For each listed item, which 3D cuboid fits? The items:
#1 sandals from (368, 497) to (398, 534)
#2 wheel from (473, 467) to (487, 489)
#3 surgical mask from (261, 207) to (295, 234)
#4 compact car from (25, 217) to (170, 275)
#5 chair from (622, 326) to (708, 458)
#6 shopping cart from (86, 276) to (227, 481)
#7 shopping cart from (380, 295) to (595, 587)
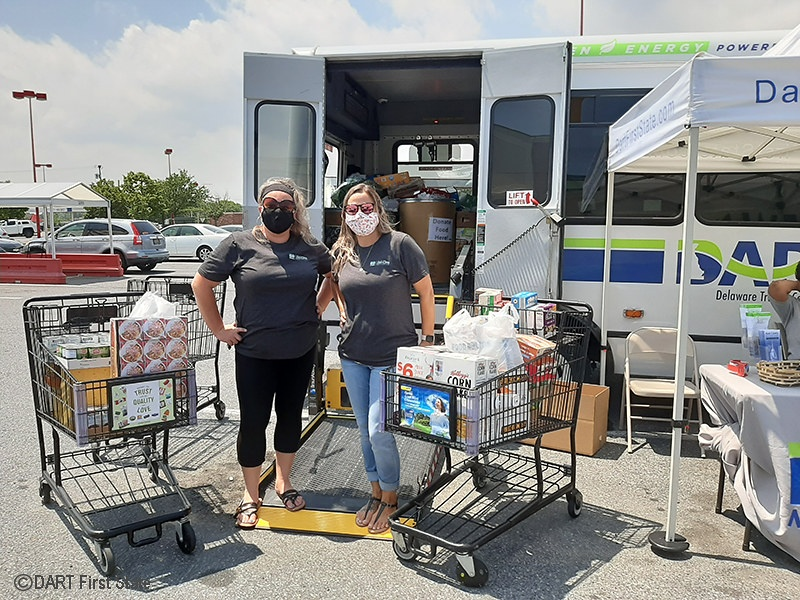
[{"bbox_3d":[-0.128,1.570,4.750,0.124,0.147,0.369,-11,8,30],"label":"sandals"},{"bbox_3d":[0.657,1.469,5.373,0.075,0.143,0.140,-10,-23,24],"label":"wheel"},{"bbox_3d":[-0.900,-0.571,4.720,0.180,0.157,0.182,2,2,-9],"label":"surgical mask"},{"bbox_3d":[-9.908,-1.921,21.111,3.807,1.519,1.808,4,6,6],"label":"compact car"},{"bbox_3d":[2.659,0.876,6.520,0.824,1.162,0.876,1,3,5],"label":"chair"},{"bbox_3d":[-2.393,0.783,6.550,1.030,1.698,1.516,2,26,-9],"label":"shopping cart"},{"bbox_3d":[0.397,0.962,5.394,1.305,2.253,2.098,2,4,40],"label":"shopping cart"}]
